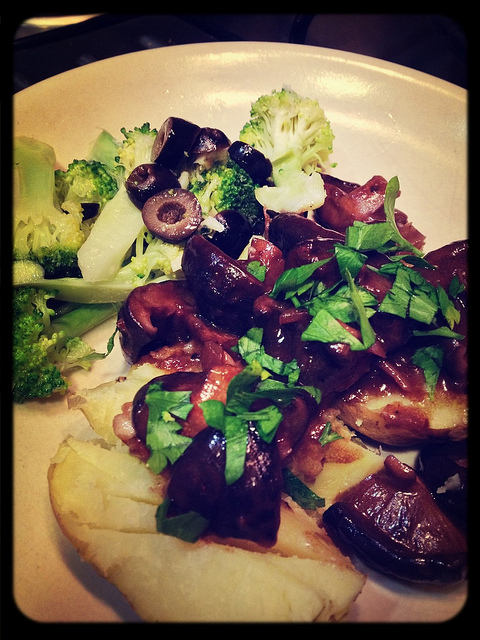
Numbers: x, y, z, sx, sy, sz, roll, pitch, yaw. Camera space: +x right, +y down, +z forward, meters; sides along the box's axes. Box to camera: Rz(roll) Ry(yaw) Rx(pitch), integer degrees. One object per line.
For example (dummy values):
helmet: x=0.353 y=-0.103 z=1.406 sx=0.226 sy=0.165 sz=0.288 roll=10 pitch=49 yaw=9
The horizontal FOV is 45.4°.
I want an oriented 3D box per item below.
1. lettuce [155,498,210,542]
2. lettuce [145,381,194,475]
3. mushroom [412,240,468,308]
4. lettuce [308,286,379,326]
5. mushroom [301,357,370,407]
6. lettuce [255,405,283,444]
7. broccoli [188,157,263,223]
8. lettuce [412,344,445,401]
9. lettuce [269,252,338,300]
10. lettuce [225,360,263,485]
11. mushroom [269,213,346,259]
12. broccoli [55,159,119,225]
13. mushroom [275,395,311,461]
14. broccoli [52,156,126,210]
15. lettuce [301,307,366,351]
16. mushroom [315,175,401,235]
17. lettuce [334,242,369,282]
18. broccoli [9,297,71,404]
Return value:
lettuce: x=-0.277 y=0.990 z=2.837 sx=0.233 sy=0.076 sz=0.211 roll=0 pitch=108 yaw=17
lettuce: x=-0.363 y=0.518 z=2.796 sx=0.297 sy=0.125 sz=0.371 roll=-27 pitch=62 yaw=28
mushroom: x=1.079 y=-0.254 z=3.087 sx=0.266 sy=0.107 sz=0.381 roll=6 pitch=65 yaw=-1
lettuce: x=0.436 y=-0.094 z=2.888 sx=0.325 sy=0.342 sz=0.075 roll=27 pitch=72 yaw=-9
mushroom: x=0.496 y=0.329 z=3.062 sx=0.224 sy=0.346 sz=0.090 roll=38 pitch=23 yaw=-24
lettuce: x=0.131 y=0.504 z=2.735 sx=0.136 sy=0.054 sz=0.157 roll=30 pitch=75 yaw=-15
broccoli: x=-0.048 y=-0.800 z=3.675 sx=0.427 sy=0.154 sz=0.426 roll=-41 pitch=73 yaw=14
lettuce: x=0.989 y=0.275 z=2.991 sx=0.135 sy=0.084 sz=0.339 roll=15 pitch=32 yaw=7
lettuce: x=0.281 y=-0.218 z=2.991 sx=0.438 sy=0.050 sz=0.112 roll=-24 pitch=62 yaw=22
lettuce: x=0.008 y=0.483 z=2.731 sx=0.085 sy=0.145 sz=0.576 roll=35 pitch=58 yaw=-39
mushroom: x=0.350 y=-0.453 z=3.258 sx=0.218 sy=0.127 sz=0.383 roll=-37 pitch=31 yaw=-10
broccoli: x=-0.987 y=-0.806 z=3.791 sx=0.433 sy=0.375 sz=0.393 roll=-19 pitch=97 yaw=-35
mushroom: x=0.250 y=0.549 z=2.966 sx=0.207 sy=0.087 sz=0.312 roll=20 pitch=88 yaw=-20
broccoli: x=-0.910 y=-0.892 z=3.686 sx=0.405 sy=0.170 sz=0.343 roll=-25 pitch=74 yaw=-20
lettuce: x=0.447 y=0.095 z=2.839 sx=0.182 sy=0.068 sz=0.294 roll=-40 pitch=74 yaw=-19
mushroom: x=0.744 y=-0.743 z=3.635 sx=0.431 sy=0.159 sz=0.402 roll=-24 pitch=42 yaw=2
lettuce: x=0.544 y=-0.304 z=2.967 sx=0.181 sy=0.096 sz=0.188 roll=29 pitch=67 yaw=9
broccoli: x=-1.178 y=0.172 z=3.334 sx=0.215 sy=0.439 sz=0.542 roll=-11 pitch=88 yaw=29
